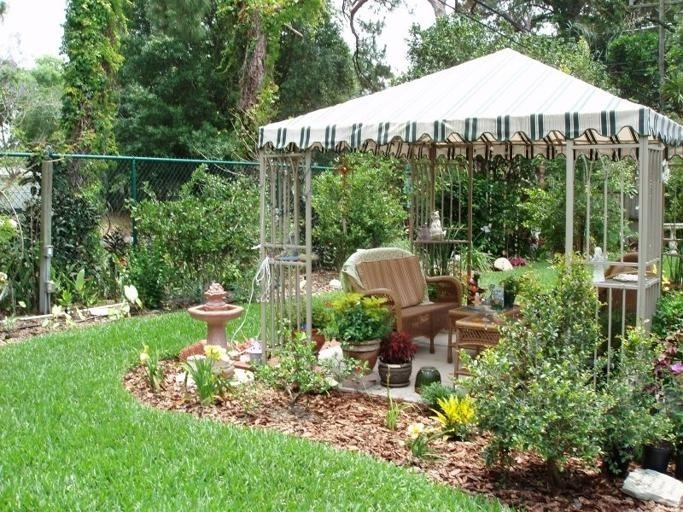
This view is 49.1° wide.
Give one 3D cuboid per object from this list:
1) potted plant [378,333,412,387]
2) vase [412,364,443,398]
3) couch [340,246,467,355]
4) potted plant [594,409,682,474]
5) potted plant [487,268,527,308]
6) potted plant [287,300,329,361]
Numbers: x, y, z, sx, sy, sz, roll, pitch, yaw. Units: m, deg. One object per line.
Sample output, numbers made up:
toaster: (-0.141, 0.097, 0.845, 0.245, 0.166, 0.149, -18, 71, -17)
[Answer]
potted plant: (0.653, 1.209, 8.975, 0.472, 0.716, 0.511, 0, -1, 37)
vase: (0.970, 1.390, 8.443, 0.245, 0.263, 0.275, 0, -3, -3)
couch: (0.844, 0.621, 10.154, 0.909, 1.510, 1.749, -5, 2, 39)
potted plant: (2.710, 1.643, 6.984, 0.654, 0.821, 0.578, 1, -4, -11)
potted plant: (2.107, 0.396, 9.726, 0.517, 0.767, 0.693, 1, 2, 9)
potted plant: (-0.383, 0.996, 9.933, 0.455, 0.706, 0.587, -2, 1, 28)
